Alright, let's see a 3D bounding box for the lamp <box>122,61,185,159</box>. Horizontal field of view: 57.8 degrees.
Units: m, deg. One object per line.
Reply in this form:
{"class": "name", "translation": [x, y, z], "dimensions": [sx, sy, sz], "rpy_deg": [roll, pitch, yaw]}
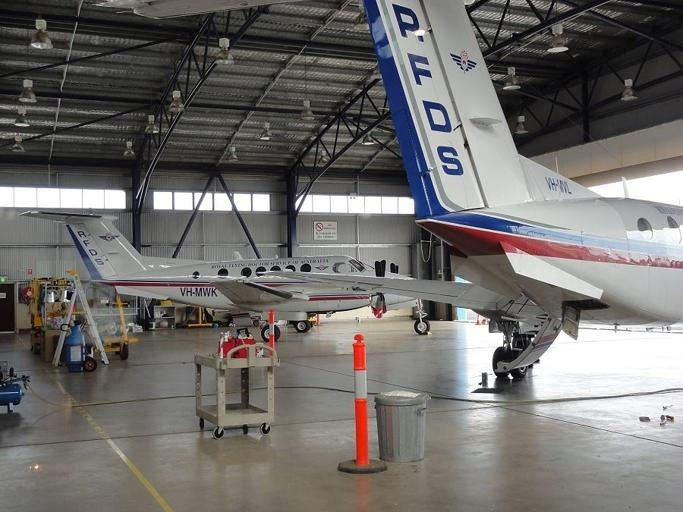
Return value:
{"class": "lamp", "translation": [-7.997, -6.261, 26.082], "dimensions": [0.888, 0.782, 5.278], "rpy_deg": [11, -35, -34]}

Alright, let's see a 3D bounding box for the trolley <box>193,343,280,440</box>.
{"class": "trolley", "translation": [-1.707, 2.247, 10.095], "dimensions": [1.133, 1.264, 1.725], "rpy_deg": [2, -5, -22]}

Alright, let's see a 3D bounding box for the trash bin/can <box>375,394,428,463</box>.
{"class": "trash bin/can", "translation": [0.895, 2.293, 8.261], "dimensions": [0.891, 0.679, 0.757], "rpy_deg": [5, -16, -22]}
